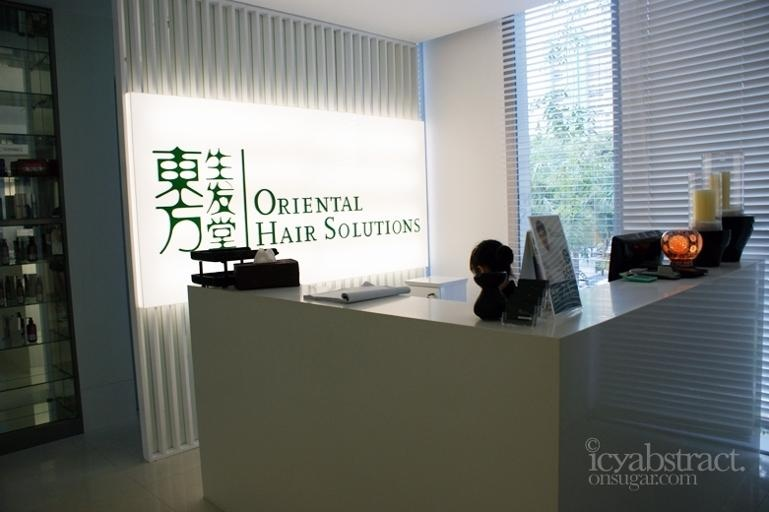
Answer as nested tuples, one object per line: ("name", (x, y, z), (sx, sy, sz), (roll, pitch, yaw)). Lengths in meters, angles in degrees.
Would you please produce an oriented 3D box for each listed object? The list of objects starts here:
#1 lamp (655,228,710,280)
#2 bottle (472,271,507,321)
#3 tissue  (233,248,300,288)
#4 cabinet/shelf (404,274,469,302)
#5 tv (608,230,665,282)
("lamp", (1.889, -0.048, 3.635), (0.270, 0.311, 0.278), (-2, 14, 18))
("bottle", (0.536, 0.197, 2.892), (0.171, 0.246, 0.118), (0, 7, 12))
("tissue ", (-0.811, 0.084, 3.910), (0.427, 0.275, 0.225), (-4, 6, -21))
("cabinet/shelf", (0.524, 0.297, 5.684), (0.340, 0.352, 0.344), (1, 3, 40))
("tv", (1.664, 0.003, 3.712), (0.142, 0.370, 0.422), (-9, 8, -27))
